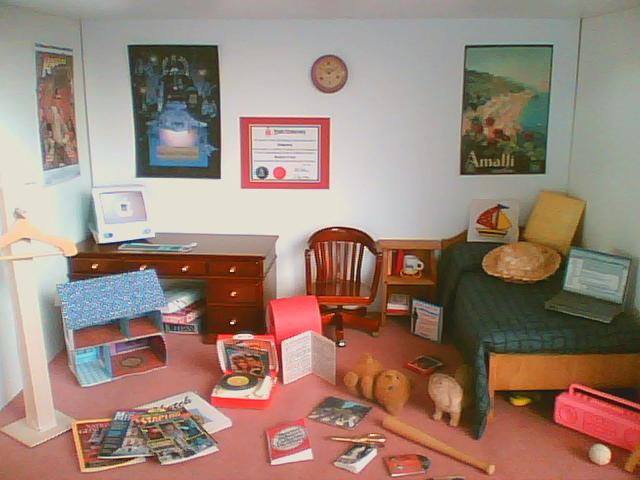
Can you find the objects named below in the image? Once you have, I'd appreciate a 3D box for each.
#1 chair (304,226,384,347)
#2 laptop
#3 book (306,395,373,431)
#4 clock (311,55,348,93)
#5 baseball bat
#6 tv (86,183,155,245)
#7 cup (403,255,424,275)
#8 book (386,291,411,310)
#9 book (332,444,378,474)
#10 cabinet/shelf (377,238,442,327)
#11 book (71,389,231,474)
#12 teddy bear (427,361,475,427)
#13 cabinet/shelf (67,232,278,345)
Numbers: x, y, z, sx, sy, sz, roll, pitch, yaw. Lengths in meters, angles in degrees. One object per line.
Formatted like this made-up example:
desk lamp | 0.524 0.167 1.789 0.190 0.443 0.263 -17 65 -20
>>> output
chair | 0.224 0.395 4.632 0.697 0.958 0.754 1 16 4
laptop | 2.071 0.395 3.806 0.564 0.561 0.431 11 -4 26
book | 0.142 1.236 3.534 0.368 0.040 0.351 9 17 30
clock | 0.088 -1.534 4.553 0.343 0.343 0.054 0 16 -1
baseball bat | 0.771 1.361 3.212 0.659 0.103 0.107 18 29 38
tv | -1.845 -0.259 4.673 0.634 0.569 0.508 -6 6 -28
cup | 0.881 0.254 4.730 0.207 0.174 0.154 1 3 -30
book | 0.760 0.607 4.768 0.210 0.086 0.232 2 15 9
book | 0.231 1.388 3.138 0.185 0.044 0.286 10 18 34
cabinet/shelf | 0.865 0.393 4.722 0.820 0.933 0.520 -1 10 -2
book | -1.144 1.277 3.364 0.965 0.128 0.530 -9 17 -29
teddy bear | 0.924 1.102 3.637 0.269 0.222 0.527 5 9 13
cabinet/shelf | -1.329 0.415 4.678 1.768 0.872 0.763 1 16 3
